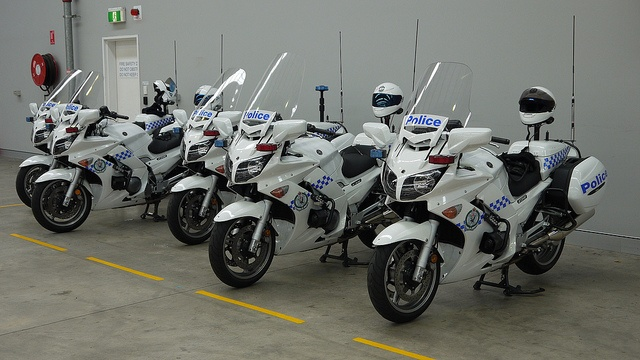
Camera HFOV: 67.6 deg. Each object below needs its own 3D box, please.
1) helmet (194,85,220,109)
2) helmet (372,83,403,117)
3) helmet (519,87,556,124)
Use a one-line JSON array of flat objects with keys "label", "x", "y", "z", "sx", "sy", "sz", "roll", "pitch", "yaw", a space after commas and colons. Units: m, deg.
[{"label": "helmet", "x": -1.941, "y": -1.361, "z": 8.210, "sx": 0.527, "sy": 0.461, "sz": 0.416, "roll": -5, "pitch": 7, "yaw": -40}, {"label": "helmet", "x": 1.053, "y": -1.297, "z": 7.561, "sx": 0.526, "sy": 0.447, "sz": 0.617, "roll": 8, "pitch": 25, "yaw": 30}, {"label": "helmet", "x": 2.941, "y": -1.022, "z": 6.446, "sx": 0.463, "sy": 0.447, "sz": 0.591, "roll": 9, "pitch": 22, "yaw": 37}]
